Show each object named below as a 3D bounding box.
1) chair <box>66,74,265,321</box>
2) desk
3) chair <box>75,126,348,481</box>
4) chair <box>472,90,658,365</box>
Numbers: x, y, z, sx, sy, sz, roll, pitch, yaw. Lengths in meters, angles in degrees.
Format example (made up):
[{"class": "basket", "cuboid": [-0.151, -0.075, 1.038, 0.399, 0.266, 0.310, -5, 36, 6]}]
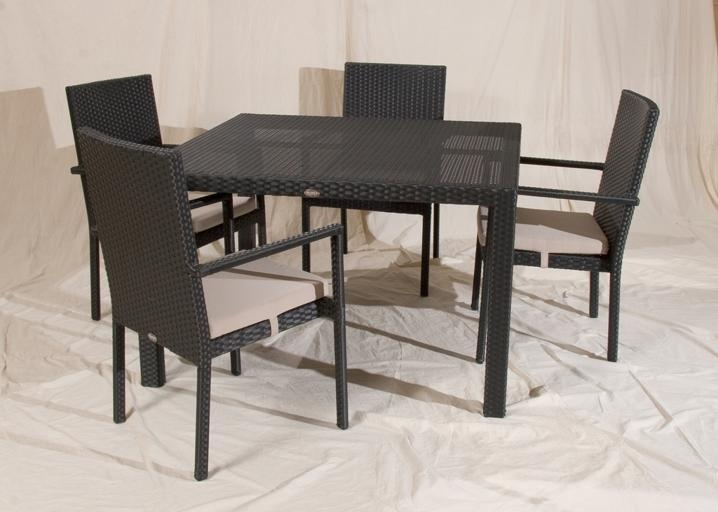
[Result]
[{"class": "chair", "cuboid": [-0.838, -0.274, 3.120, 0.924, 1.022, 0.837, 25, 29, 28]}, {"class": "desk", "cuboid": [0.058, 0.020, 2.580, 1.312, 0.778, 1.310, 3, 22, 11]}, {"class": "chair", "cuboid": [-0.557, 0.120, 2.471, 0.736, 1.051, 0.812, 15, 19, 38]}, {"class": "chair", "cuboid": [0.856, -0.152, 2.966, 0.833, 1.046, 0.752, 4, 21, 20]}]
